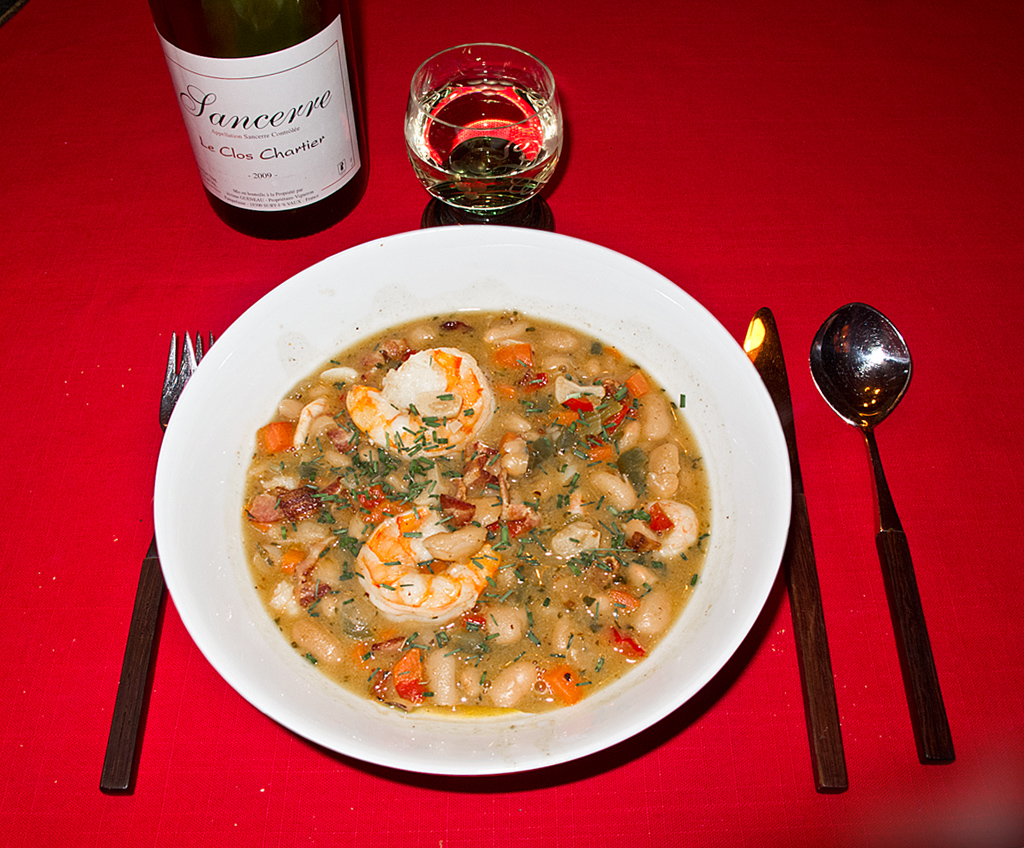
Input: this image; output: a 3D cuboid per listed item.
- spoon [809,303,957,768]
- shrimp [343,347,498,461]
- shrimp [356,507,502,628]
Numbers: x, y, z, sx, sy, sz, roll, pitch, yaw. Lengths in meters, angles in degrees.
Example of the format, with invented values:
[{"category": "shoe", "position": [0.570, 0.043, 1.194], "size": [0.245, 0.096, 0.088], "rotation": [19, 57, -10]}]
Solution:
[{"category": "spoon", "position": [1.065, 0.248, 2.732], "size": [0.252, 0.137, 1.407], "rotation": [-4, 63, 18]}, {"category": "shrimp", "position": [-0.244, -0.066, 2.680], "size": [0.338, 0.088, 0.314], "rotation": [-19, 78, -8]}, {"category": "shrimp", "position": [-0.236, 0.384, 2.539], "size": [0.337, 0.098, 0.325], "rotation": [36, 80, 4]}]
